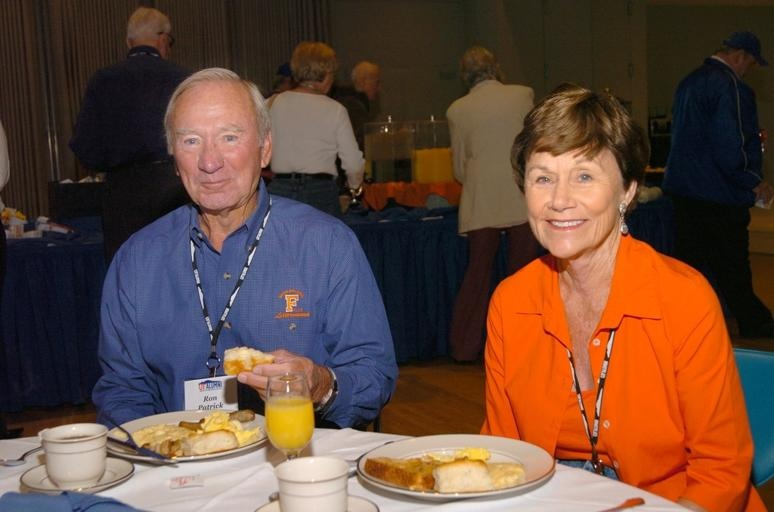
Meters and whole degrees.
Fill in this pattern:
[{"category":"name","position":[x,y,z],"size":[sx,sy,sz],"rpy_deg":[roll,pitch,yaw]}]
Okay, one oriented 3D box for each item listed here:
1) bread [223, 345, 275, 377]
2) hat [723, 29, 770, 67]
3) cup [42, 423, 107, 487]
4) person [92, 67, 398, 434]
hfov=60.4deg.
[{"category":"bread","position":[-0.366,0.265,1.726],"size":[0.097,0.039,0.077],"rpy_deg":[0,5,-23]},{"category":"hat","position":[2.652,-1.513,4.828],"size":[0.388,0.253,0.206],"rpy_deg":[-10,10,-29]},{"category":"cup","position":[-0.749,0.448,1.600],"size":[0.136,0.116,0.142],"rpy_deg":[0,4,0]},{"category":"person","position":[-0.507,0.167,2.175],"size":[0.981,1.484,0.686],"rpy_deg":[-1,3,4]}]
